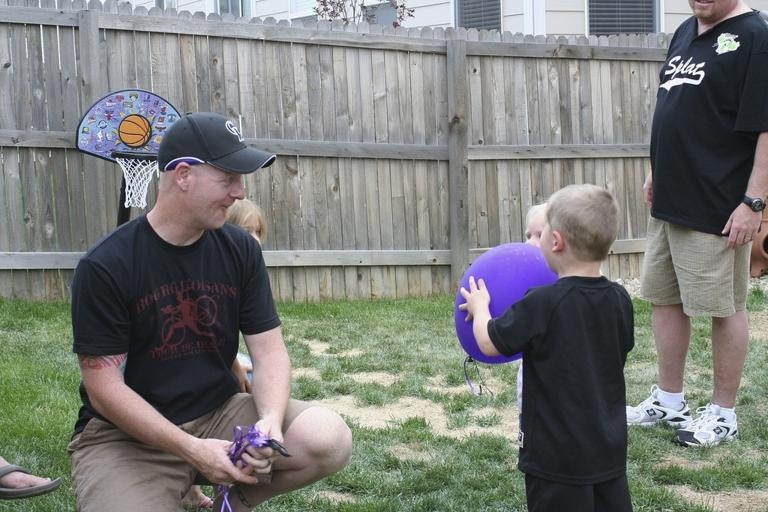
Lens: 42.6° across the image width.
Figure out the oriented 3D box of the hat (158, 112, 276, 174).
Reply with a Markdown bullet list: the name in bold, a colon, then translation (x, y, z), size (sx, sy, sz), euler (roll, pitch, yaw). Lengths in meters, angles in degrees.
- **hat**: translation (-1.080, -0.702, 6.249), size (0.552, 0.339, 0.393), euler (-7, 11, 5)

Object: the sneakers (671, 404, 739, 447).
- **sneakers**: translation (2.389, 1.240, 7.324), size (0.533, 0.293, 0.222), euler (-6, 1, -28)

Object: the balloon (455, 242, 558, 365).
- **balloon**: translation (0.725, 0.182, 6.757), size (0.758, 0.652, 0.607), euler (-30, -20, -5)

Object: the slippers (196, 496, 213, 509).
- **slippers**: translation (-1.197, 1.675, 6.649), size (0.106, 0.074, 0.043), euler (9, -12, -4)
